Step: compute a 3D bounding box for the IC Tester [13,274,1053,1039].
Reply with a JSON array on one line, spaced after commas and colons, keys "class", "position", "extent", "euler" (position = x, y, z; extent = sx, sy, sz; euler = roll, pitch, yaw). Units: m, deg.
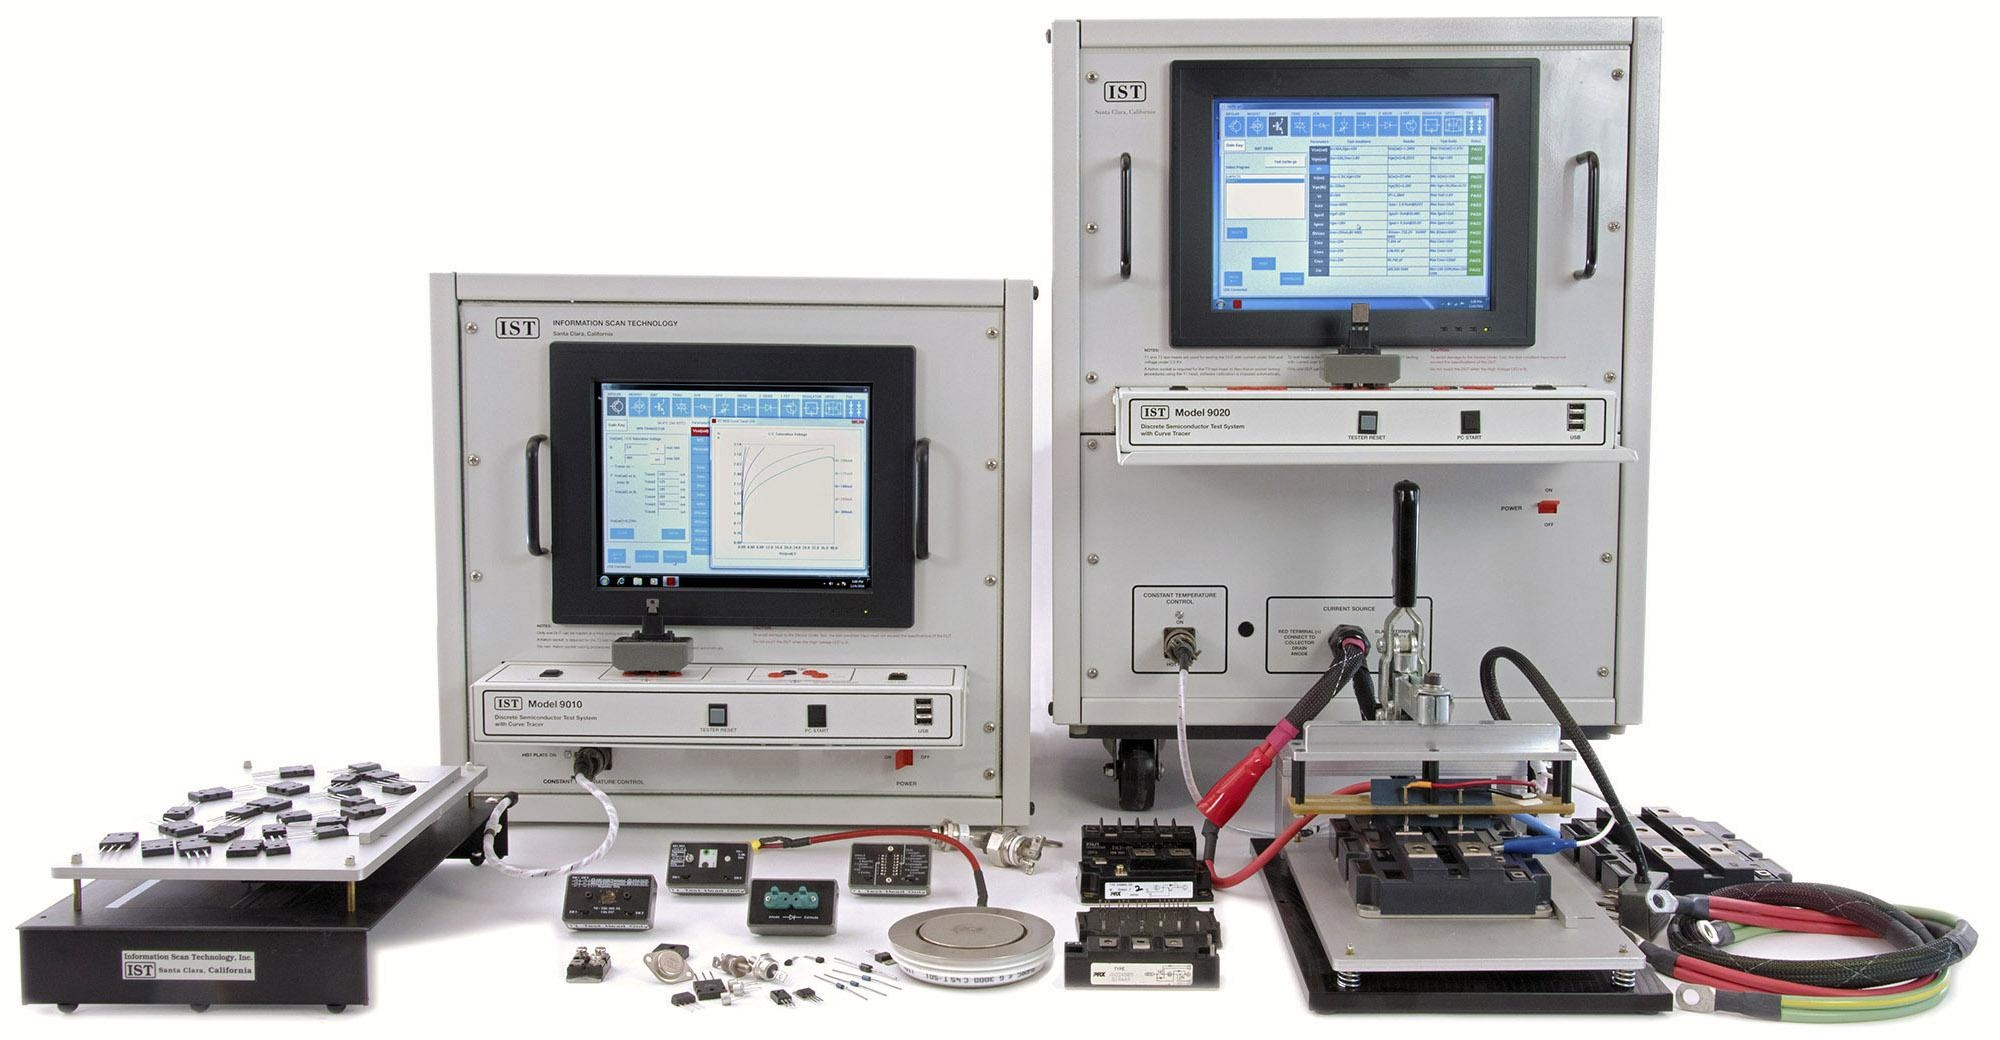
[{"class": "IC Tester", "position": [-1.504, 0.179, 5.715], "extent": [3.717, 1.850, 1.659], "euler": [1, 3, 9]}]
